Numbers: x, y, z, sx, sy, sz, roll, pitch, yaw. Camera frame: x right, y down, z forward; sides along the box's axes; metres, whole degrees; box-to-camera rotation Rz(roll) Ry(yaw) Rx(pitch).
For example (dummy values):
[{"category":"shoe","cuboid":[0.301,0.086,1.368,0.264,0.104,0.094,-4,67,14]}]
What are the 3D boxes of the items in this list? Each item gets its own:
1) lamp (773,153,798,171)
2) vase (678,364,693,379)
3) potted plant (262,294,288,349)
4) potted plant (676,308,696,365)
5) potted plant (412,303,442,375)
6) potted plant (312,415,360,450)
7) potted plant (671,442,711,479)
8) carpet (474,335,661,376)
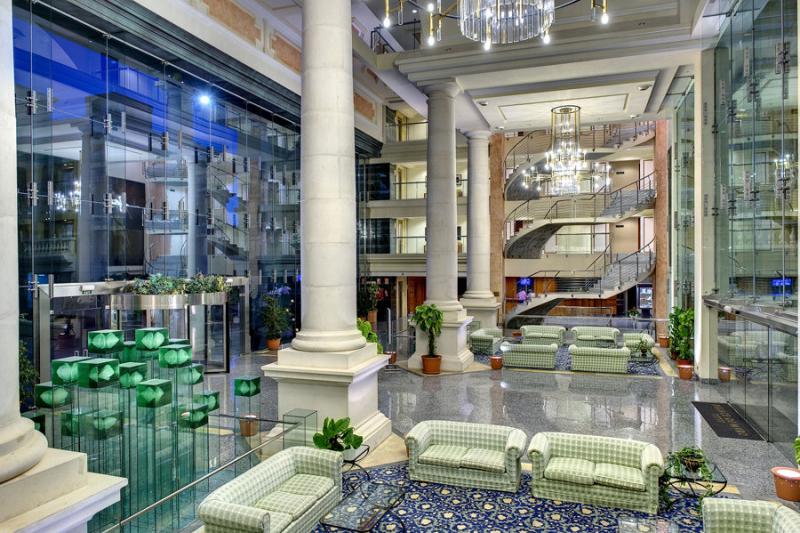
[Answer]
[{"category":"lamp","cuboid":[6.632,-1.785,10.141,0.074,0.271,0.304,-9,11,-5]},{"category":"vase","cuboid":[7.195,2.607,14.901,0.367,0.251,0.357,0,-4,-4]},{"category":"potted plant","cuboid":[-3.957,1.727,18.883,0.502,1.312,0.856,-5,-2,35]},{"category":"potted plant","cuboid":[7.705,1.832,15.908,0.460,1.470,1.186,-5,-2,25]},{"category":"potted plant","cuboid":[0.781,1.852,15.599,0.849,1.565,0.658,-4,-1,-5]},{"category":"potted plant","cuboid":[-0.993,2.700,9.564,0.602,0.279,0.580,0,0,-20]},{"category":"potted plant","cuboid":[4.421,2.951,8.993,0.647,0.418,0.630,-3,-6,36]},{"category":"carpet","cuboid":[4.899,2.379,18.171,5.438,1.127,4.668,-4,-1,16]}]
